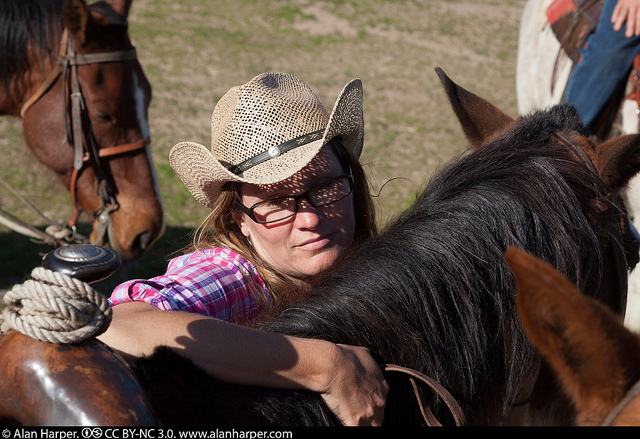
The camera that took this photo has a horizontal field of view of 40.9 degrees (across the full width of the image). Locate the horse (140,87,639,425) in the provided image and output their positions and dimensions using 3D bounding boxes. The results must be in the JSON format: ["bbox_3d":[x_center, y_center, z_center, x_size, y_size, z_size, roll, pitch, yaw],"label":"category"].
[{"bbox_3d":[0.617,0.224,3.179,0.982,0.873,1.250,30,48,26],"label":"horse"}]

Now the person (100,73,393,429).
[{"bbox_3d":[-0.188,0.039,4.589,1.031,1.490,2.500,-26,15,-7],"label":"person"}]
